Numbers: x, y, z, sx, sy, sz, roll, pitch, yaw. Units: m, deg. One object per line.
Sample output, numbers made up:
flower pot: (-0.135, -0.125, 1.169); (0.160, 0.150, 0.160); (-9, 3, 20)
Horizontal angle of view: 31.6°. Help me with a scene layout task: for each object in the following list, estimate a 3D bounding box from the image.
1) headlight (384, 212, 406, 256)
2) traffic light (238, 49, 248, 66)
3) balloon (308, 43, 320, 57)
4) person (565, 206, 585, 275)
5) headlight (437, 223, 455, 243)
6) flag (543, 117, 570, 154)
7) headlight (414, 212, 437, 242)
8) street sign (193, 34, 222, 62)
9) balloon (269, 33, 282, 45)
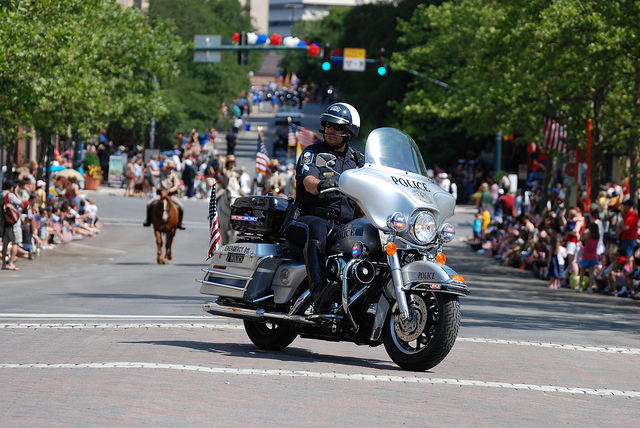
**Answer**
headlight: (1.219, 0.291, 18.022); (0.321, 0.697, 0.147); (3, 5, 3)
traffic light: (-2.737, -5.707, 40.671); (0.271, 0.466, 0.565); (1, 5, -12)
balloon: (-0.237, -6.079, 41.214); (0.445, 0.258, 0.426); (-10, -23, 9)
person: (6.873, 0.690, 30.139); (0.490, 1.741, 0.409); (0, 1, 7)
headlight: (2.051, 0.265, 18.221); (0.255, 0.302, 0.239); (3, 5, 9)
flag: (7.883, -2.704, 37.278); (1.284, 1.304, 0.164); (4, -5, -31)
headlight: (1.643, 0.191, 18.102); (0.427, 0.409, 0.117); (16, 3, -37)
street sign: (-3.995, -5.968, 40.285); (1.448, 1.254, 0.330); (0, 4, 0)
balloon: (-1.598, -6.543, 41.588); (0.604, 0.484, 0.209); (2, 1, -13)
